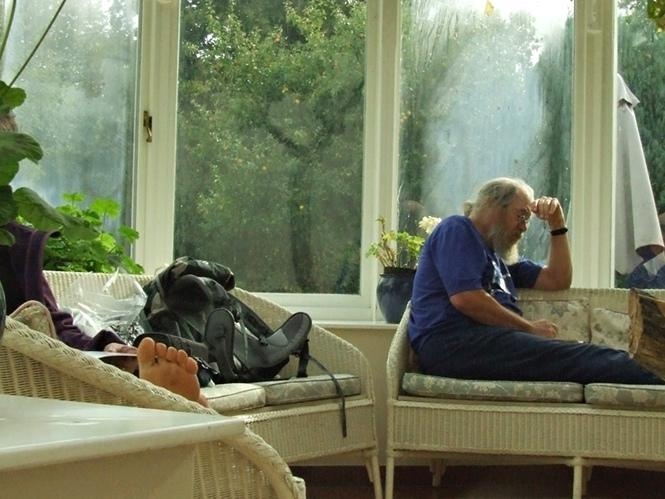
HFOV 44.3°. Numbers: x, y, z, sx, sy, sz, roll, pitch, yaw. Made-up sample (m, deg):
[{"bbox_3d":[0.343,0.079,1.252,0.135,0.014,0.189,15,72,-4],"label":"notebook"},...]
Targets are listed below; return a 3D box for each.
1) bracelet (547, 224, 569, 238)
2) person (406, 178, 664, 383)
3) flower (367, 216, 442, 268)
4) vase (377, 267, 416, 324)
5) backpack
[{"bbox_3d":[1.125,-0.082,4.061,0.065,0.050,0.073,-2,-3,-2],"label":"bracelet"},{"bbox_3d":[0.981,0.210,3.619,1.225,0.951,0.618,-2,-19,20],"label":"person"},{"bbox_3d":[0.373,-0.012,4.354,0.307,0.236,0.300,1,-2,39],"label":"flower"},{"bbox_3d":[0.303,0.261,4.282,0.229,0.300,0.253,7,-14,-5],"label":"vase"},{"bbox_3d":[-0.436,0.265,3.458,0.615,0.328,0.494,17,1,18],"label":"backpack"}]
